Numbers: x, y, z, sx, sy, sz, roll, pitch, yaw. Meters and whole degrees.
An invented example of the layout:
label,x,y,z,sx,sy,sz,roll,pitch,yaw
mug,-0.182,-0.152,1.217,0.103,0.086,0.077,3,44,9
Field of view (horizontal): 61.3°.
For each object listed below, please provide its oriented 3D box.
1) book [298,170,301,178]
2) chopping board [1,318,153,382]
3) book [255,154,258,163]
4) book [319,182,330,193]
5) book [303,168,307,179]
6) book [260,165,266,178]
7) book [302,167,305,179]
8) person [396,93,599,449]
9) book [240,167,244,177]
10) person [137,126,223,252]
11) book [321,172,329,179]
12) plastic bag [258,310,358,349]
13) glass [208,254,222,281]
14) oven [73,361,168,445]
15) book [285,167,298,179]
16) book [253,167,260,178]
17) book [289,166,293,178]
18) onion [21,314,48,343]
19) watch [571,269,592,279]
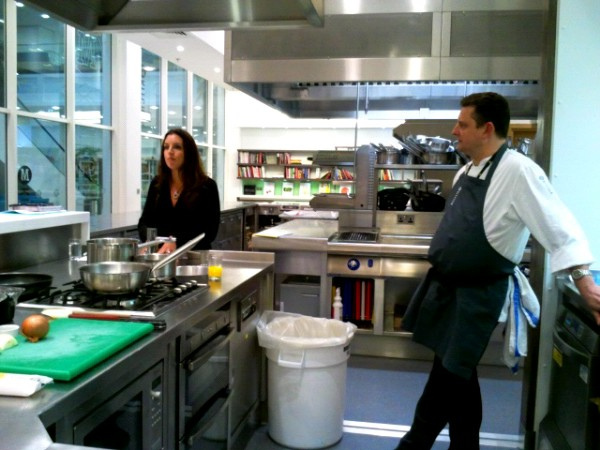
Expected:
label,x,y,z,sx,sy,sz,roll,pitch,yaw
book,-0.031,-1.199,11.847,0.060,0.161,0.094,1,8,-8
chopping board,-0.834,0.422,1.808,0.391,0.077,0.477,6,9,22
book,-1.075,-1.629,12.300,0.056,0.199,0.120,1,8,-8
book,0.557,-0.896,11.827,0.258,0.231,0.151,3,8,4
book,0.103,-1.215,11.814,0.089,0.244,0.252,0,2,1
book,-0.923,-1.289,12.225,0.108,0.264,0.203,3,8,3
book,0.069,-1.228,11.838,0.054,0.241,0.162,1,8,-10
person,1.005,0.311,2.738,0.942,2.035,0.480,7,9,30
book,-1.414,-1.278,12.269,0.024,0.206,0.128,-3,10,-33
person,-0.852,-0.250,3.535,0.542,0.837,0.325,-1,9,-18
book,0.570,-1.149,11.629,0.081,0.116,0.246,-1,9,-20
plastic bag,0.034,0.626,3.052,0.547,0.197,0.432,4,7,-6
glass,-0.454,0.234,2.782,0.109,0.173,0.120,1,1,-4
oven,-0.638,0.690,1.856,0.252,0.271,0.407,0,1,9
book,-0.207,-1.220,11.963,0.337,0.330,0.247,0,-3,4
book,-1.064,-1.283,12.198,0.211,0.213,0.062,-1,-7,-13
book,-0.229,-1.253,11.929,0.047,0.197,0.197,2,-3,-10
onion,-0.956,0.357,1.805,0.086,0.116,0.087,0,-18,-31
watch,1.294,0.221,2.329,0.063,0.040,0.066,-7,-12,3
